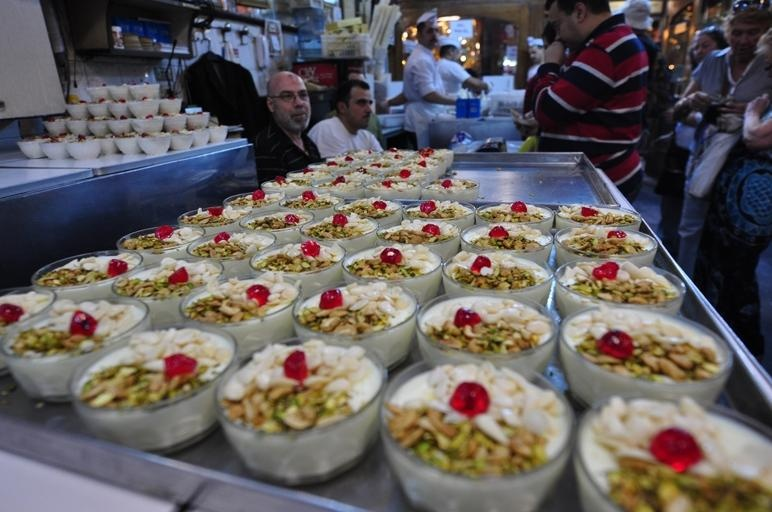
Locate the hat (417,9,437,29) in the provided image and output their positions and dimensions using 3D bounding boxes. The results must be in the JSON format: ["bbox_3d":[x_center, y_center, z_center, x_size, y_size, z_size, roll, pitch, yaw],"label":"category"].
[{"bbox_3d":[0.514,-2.945,5.929,0.228,0.193,0.177,22,83,30],"label":"hat"}]

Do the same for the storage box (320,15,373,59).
[{"bbox_3d":[-0.522,-2.857,6.036,0.654,0.394,0.590,2,29,4],"label":"storage box"}]

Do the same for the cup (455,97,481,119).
[{"bbox_3d":[0.908,-1.647,5.304,0.273,0.223,0.258,0,13,0],"label":"cup"}]

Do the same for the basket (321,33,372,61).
[{"bbox_3d":[-0.517,-2.688,6.046,0.613,0.292,0.324,-4,31,-7],"label":"basket"}]
